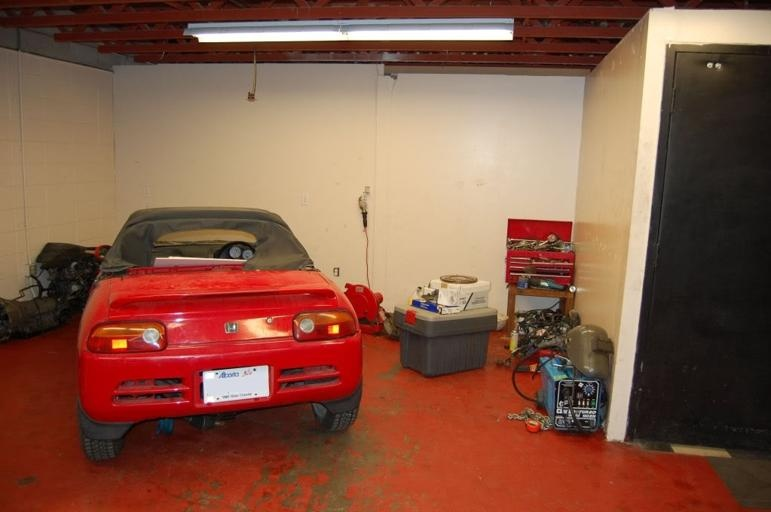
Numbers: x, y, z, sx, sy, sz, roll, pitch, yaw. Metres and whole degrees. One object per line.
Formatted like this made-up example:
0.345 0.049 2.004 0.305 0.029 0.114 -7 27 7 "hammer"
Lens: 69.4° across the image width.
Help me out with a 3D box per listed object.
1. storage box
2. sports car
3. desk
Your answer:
0.715 0.931 6.635 1.010 0.639 0.734 -3 7 -30 "storage box"
-1.901 0.394 5.948 2.511 1.814 4.045 -2 10 -28 "sports car"
2.107 0.748 7.693 0.892 0.731 0.745 2 7 12 "desk"
